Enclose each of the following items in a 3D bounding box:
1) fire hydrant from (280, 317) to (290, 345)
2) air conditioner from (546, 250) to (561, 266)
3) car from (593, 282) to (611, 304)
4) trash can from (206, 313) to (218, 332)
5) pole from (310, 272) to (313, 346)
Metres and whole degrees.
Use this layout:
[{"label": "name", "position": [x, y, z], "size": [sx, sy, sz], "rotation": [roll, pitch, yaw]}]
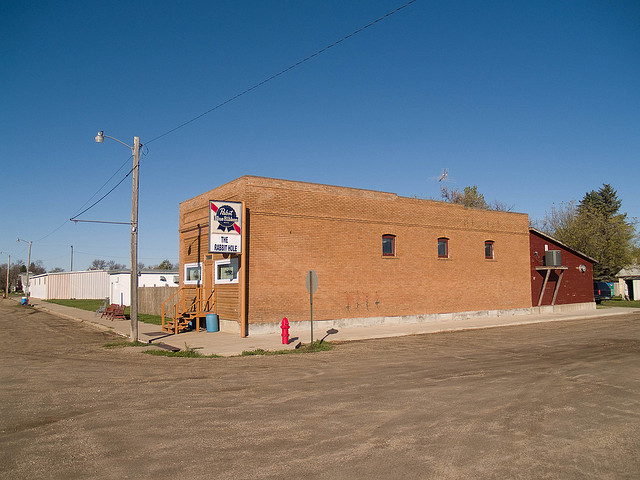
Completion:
[{"label": "fire hydrant", "position": [-1.405, 3.676, 20.082], "size": [0.300, 1.009, 0.539], "rotation": [0, -2, -5]}, {"label": "air conditioner", "position": [16.376, 1.334, 35.187], "size": [0.948, 1.401, 0.992], "rotation": [1, -6, -2]}, {"label": "car", "position": [27.331, 5.125, 48.460], "size": [1.224, 1.958, 5.873], "rotation": [-1, -3, 29]}, {"label": "trash can", "position": [-5.251, 4.109, 24.437], "size": [0.656, 1.072, 0.716], "rotation": [0, -13, -8]}, {"label": "pole", "position": [-0.339, 2.686, 19.358], "size": [0.111, 2.816, 0.403], "rotation": [0, -1, -5]}]
